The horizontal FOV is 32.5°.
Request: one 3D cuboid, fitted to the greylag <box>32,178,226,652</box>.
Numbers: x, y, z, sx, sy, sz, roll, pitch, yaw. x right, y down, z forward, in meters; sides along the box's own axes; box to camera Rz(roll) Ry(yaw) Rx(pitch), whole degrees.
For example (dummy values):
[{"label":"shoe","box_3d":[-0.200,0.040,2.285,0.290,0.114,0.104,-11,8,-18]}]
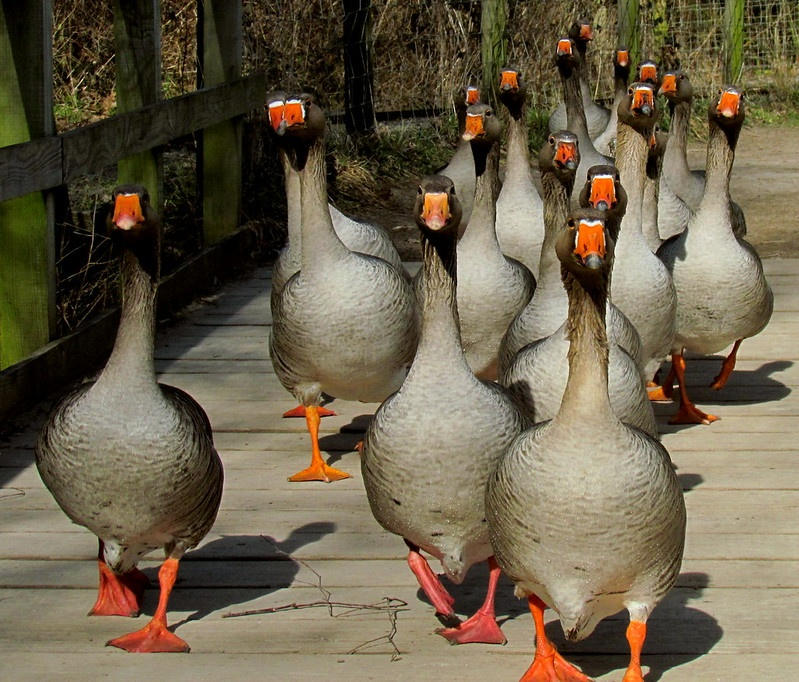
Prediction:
[{"label":"greylag","box_3d":[-1.119,0.318,5.787,0.729,1.876,0.899,-11,24,-30]}]
